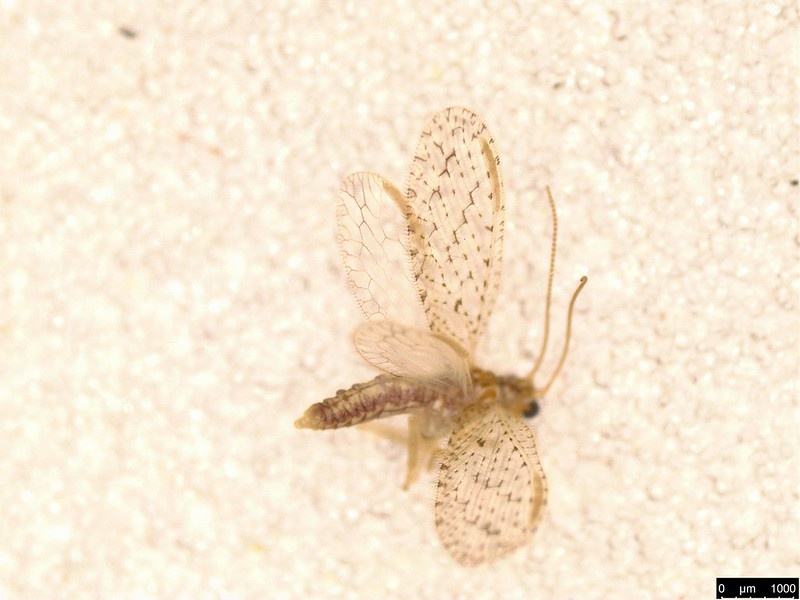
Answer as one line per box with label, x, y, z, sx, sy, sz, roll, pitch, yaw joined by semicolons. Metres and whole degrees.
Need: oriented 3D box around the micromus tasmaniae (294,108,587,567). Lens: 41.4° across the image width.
micromus tasmaniae;0.048;0.040;1.148;0.283;0.198;0.466;10;80;5
